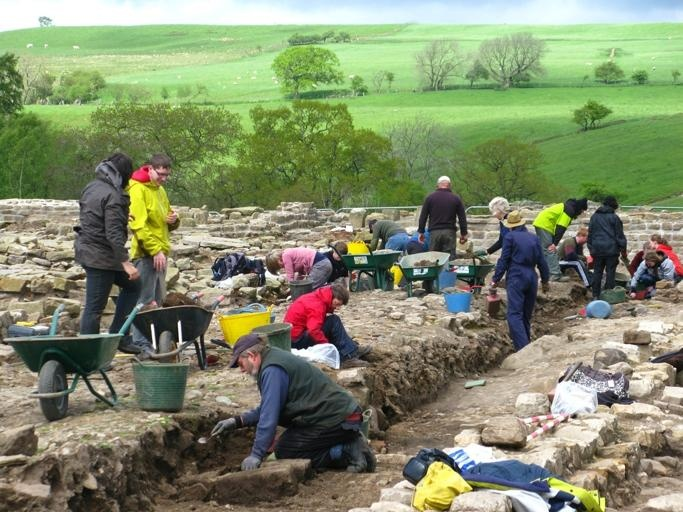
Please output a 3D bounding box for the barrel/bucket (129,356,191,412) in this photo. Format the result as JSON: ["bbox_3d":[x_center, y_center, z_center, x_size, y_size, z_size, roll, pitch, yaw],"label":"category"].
[{"bbox_3d":[-2.192,1.573,11.301,0.669,0.544,0.554,-2,-4,16],"label":"barrel/bucket"}]

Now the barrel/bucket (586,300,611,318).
[{"bbox_3d":[4.285,0.893,15.797,0.437,0.314,0.278,2,13,24],"label":"barrel/bucket"}]

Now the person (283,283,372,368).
[{"bbox_3d":[-0.227,0.922,13.057,1.272,1.066,0.833,6,7,-6],"label":"person"}]

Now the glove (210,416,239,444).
[{"bbox_3d":[-1.462,2.075,11.364,0.320,0.338,0.382,-8,12,-19],"label":"glove"}]

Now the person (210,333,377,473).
[{"bbox_3d":[-0.518,1.767,11.189,1.636,1.727,0.581,-6,13,-10],"label":"person"}]

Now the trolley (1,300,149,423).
[{"bbox_3d":[-3.230,1.256,11.246,0.944,1.256,1.150,2,13,27],"label":"trolley"}]

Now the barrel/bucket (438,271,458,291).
[{"bbox_3d":[1.907,0.431,16.982,0.356,0.270,0.378,0,-4,0],"label":"barrel/bucket"}]

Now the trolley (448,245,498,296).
[{"bbox_3d":[2.406,0.270,17.417,0.745,0.739,1.278,-1,-6,1],"label":"trolley"}]

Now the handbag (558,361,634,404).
[{"bbox_3d":[3.304,1.647,12.212,0.859,0.475,0.559,-1,12,13],"label":"handbag"}]

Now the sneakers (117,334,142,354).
[{"bbox_3d":[-2.792,1.201,12.639,0.464,0.284,0.150,-1,5,-31],"label":"sneakers"}]

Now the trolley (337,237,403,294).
[{"bbox_3d":[0.497,0.249,17.004,1.416,0.626,0.721,-8,-8,5],"label":"trolley"}]

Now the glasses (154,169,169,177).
[{"bbox_3d":[-2.445,-1.123,12.812,0.159,0.146,0.156,-2,12,9],"label":"glasses"}]

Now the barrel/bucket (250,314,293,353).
[{"bbox_3d":[-0.927,1.025,12.403,0.423,0.293,0.387,-1,-3,0],"label":"barrel/bucket"}]

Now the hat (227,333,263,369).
[{"bbox_3d":[-1.140,1.123,11.170,0.465,0.233,0.294,-33,6,5],"label":"hat"}]

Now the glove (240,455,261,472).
[{"bbox_3d":[-1.071,2.415,10.959,0.191,0.070,0.182,-18,-5,-8],"label":"glove"}]

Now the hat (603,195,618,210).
[{"bbox_3d":[4.871,-0.972,17.013,0.280,0.313,0.332,3,4,19],"label":"hat"}]

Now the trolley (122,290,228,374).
[{"bbox_3d":[-2.185,1.062,12.726,1.049,0.916,1.874,-5,-2,8],"label":"trolley"}]

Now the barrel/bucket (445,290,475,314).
[{"bbox_3d":[1.938,0.772,15.786,0.390,0.285,0.405,-1,-7,0],"label":"barrel/bucket"}]

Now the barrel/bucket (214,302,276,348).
[{"bbox_3d":[-1.373,0.947,13.133,0.576,0.414,0.642,-9,-13,-6],"label":"barrel/bucket"}]

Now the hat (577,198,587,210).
[{"bbox_3d":[4.303,-0.957,16.826,0.166,0.189,0.207,11,34,15],"label":"hat"}]

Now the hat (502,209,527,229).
[{"bbox_3d":[2.679,-0.574,14.605,0.328,0.125,0.302,1,20,26],"label":"hat"}]

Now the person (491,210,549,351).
[{"bbox_3d":[2.802,0.514,14.547,0.890,1.860,0.484,-11,14,-28],"label":"person"}]

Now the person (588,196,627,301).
[{"bbox_3d":[4.796,-0.156,17.049,0.657,1.847,0.785,-1,13,15],"label":"person"}]

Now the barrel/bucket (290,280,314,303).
[{"bbox_3d":[-0.658,0.531,14.769,0.346,0.237,0.334,-2,1,0],"label":"barrel/bucket"}]
